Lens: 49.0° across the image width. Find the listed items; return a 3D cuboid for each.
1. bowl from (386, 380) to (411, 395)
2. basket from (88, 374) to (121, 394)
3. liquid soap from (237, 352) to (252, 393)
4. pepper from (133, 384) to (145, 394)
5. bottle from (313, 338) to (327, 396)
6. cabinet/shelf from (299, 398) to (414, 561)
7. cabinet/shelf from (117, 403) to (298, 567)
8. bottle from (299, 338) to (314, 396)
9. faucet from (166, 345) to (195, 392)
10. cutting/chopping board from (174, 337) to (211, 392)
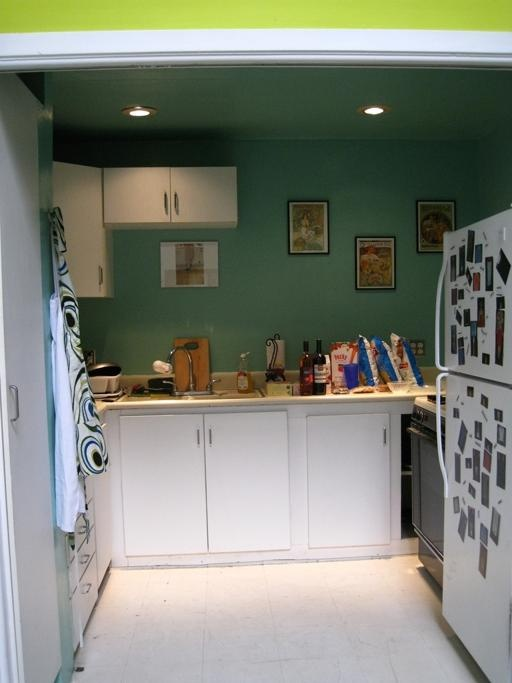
[{"bbox_3d":[0.766,0.251,3.038,0.120,0.061,0.138,-1,6,15],"label":"bowl"},{"bbox_3d":[-0.830,0.234,3.075,0.110,0.076,0.091,1,-2,-2],"label":"basket"},{"bbox_3d":[-0.075,0.182,3.375,0.086,0.227,0.219,-2,6,-2],"label":"liquid soap"},{"bbox_3d":[-0.687,0.282,3.265,0.074,0.046,0.090,-4,6,-14],"label":"pepper"},{"bbox_3d":[0.350,0.139,3.105,0.081,0.283,0.207,-1,6,8],"label":"bottle"},{"bbox_3d":[0.350,0.757,3.104,0.581,0.951,0.618,0,-5,-5],"label":"cabinet/shelf"},{"bbox_3d":[-0.269,0.678,3.023,0.864,0.849,0.329,-1,16,-5],"label":"cabinet/shelf"},{"bbox_3d":[0.269,0.180,3.057,0.084,0.216,0.105,-2,6,4],"label":"bottle"},{"bbox_3d":[-0.448,0.189,3.405,0.232,0.368,0.083,-7,37,-15],"label":"faucet"},{"bbox_3d":[-0.401,0.149,3.421,0.221,0.008,0.415,-2,49,-5],"label":"cutting/chopping board"}]
